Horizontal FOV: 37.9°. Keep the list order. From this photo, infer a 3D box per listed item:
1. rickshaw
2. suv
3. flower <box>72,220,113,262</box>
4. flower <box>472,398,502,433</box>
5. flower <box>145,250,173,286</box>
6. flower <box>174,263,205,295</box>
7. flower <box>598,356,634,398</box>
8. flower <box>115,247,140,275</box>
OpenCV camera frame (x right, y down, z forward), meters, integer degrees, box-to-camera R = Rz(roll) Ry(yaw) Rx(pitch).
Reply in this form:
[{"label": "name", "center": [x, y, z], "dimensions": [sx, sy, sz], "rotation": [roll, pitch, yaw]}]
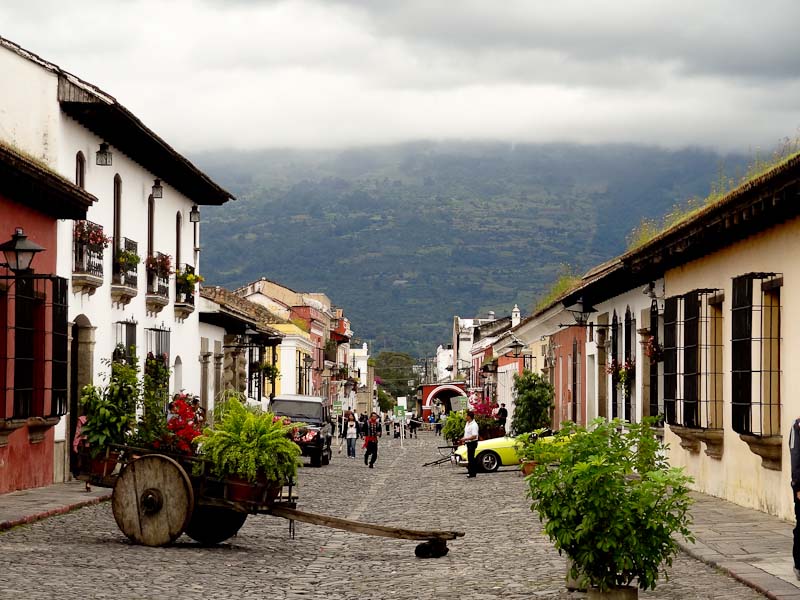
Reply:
[{"label": "rickshaw", "center": [-1.767, 2.819, 16.117], "dimensions": [5.260, 1.400, 2.187], "rotation": [1, -11, 14]}, {"label": "suv", "center": [-3.094, 3.949, 35.794], "dimensions": [2.061, 1.933, 3.751], "rotation": [4, 0, 3]}, {"label": "flower", "center": [-6.509, -1.257, 24.554], "dimensions": [0.460, 0.725, 1.038], "rotation": [0, -7, 5]}, {"label": "flower", "center": [2.891, 3.942, 37.836], "dimensions": [0.777, 0.849, 0.747], "rotation": [0, 6, 2]}, {"label": "flower", "center": [-6.236, -0.792, 29.966], "dimensions": [0.675, 0.359, 0.570], "rotation": [1, -3, 16]}, {"label": "flower", "center": [-6.106, -0.526, 33.113], "dimensions": [0.785, 0.719, 0.744], "rotation": [-6, -6, 42]}, {"label": "flower", "center": [5.204, 1.855, 27.846], "dimensions": [1.115, 0.774, 1.747], "rotation": [3, -1, 13]}, {"label": "flower", "center": [-6.378, -0.845, 27.182], "dimensions": [0.462, 0.595, 0.592], "rotation": [7, -5, -3]}]
